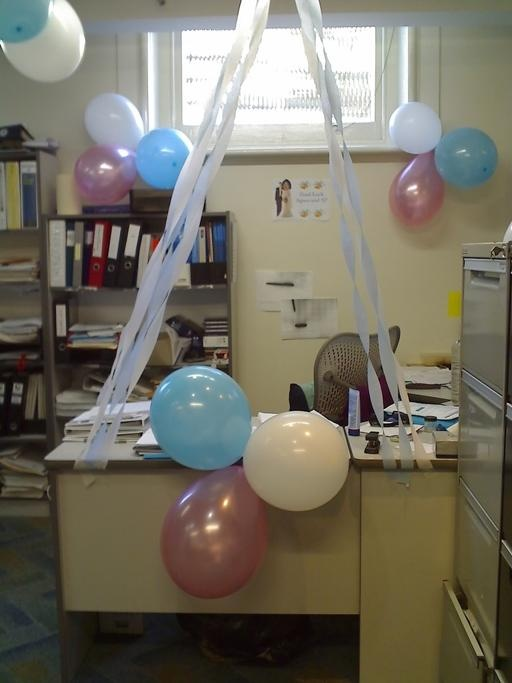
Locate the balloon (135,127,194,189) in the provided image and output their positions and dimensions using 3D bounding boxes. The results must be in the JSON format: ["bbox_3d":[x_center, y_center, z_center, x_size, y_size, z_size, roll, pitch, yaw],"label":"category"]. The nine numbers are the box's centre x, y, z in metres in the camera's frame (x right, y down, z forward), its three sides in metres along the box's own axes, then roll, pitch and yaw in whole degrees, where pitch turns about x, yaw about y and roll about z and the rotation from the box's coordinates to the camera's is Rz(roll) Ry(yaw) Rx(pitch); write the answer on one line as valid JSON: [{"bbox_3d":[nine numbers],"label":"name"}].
[{"bbox_3d":[-0.448,-0.889,2.797,0.259,0.375,0.322,-2,11,-2],"label":"balloon"}]

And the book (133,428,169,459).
[{"bbox_3d":[-0.282,0.286,1.477,0.067,0.024,0.083,3,13,-4],"label":"book"}]

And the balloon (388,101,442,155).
[{"bbox_3d":[0.798,-1.080,2.777,0.196,0.336,0.240,-4,9,10],"label":"balloon"}]

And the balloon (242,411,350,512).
[{"bbox_3d":[0.095,0.293,1.302,0.230,0.270,0.285,0,7,12],"label":"balloon"}]

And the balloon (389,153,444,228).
[{"bbox_3d":[0.937,-0.840,3.080,0.322,0.375,0.626,6,13,36],"label":"balloon"}]

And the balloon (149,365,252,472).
[{"bbox_3d":[-0.140,0.224,1.345,0.198,0.327,0.216,-9,-16,27],"label":"balloon"}]
